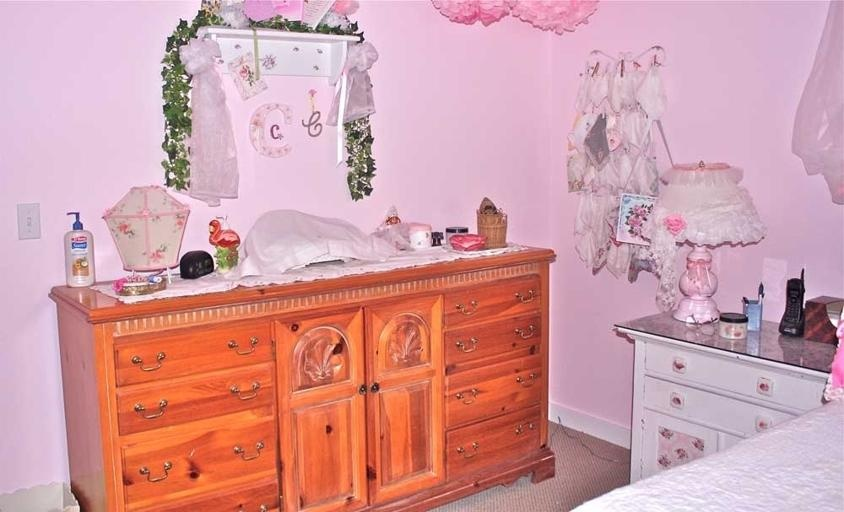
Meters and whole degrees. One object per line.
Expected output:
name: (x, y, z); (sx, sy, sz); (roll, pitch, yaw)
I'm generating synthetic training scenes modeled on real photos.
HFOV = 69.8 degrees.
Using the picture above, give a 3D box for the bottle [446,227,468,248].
bottle: (0.224, -0.121, 3.827); (0.124, 0.087, 0.121); (0, 11, 0)

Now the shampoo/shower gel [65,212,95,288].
shampoo/shower gel: (-1.746, -0.033, 3.102); (0.125, 0.376, 0.117); (-9, 10, -43)

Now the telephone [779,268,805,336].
telephone: (2.060, 0.262, 3.370); (0.116, 0.346, 0.177); (2, 8, 31)

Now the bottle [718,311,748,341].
bottle: (1.701, 0.378, 3.329); (0.144, 0.100, 0.141); (-1, 9, 0)

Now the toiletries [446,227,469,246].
toiletries: (0.218, -0.131, 3.815); (0.119, 0.083, 0.116); (1, 10, 3)

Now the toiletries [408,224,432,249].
toiletries: (-0.004, -0.127, 3.747); (0.145, 0.161, 0.108); (-3, 7, -1)

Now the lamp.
lamp: (1.629, -0.090, 3.587); (0.522, 0.927, 0.562); (-3, 7, -3)

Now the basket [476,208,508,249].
basket: (0.443, -0.174, 3.760); (0.224, 0.286, 0.223); (-3, 7, -10)

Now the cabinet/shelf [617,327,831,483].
cabinet/shelf: (1.550, 0.721, 3.045); (0.879, 0.811, 0.392); (5, 7, 42)

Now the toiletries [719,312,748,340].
toiletries: (1.714, 0.380, 3.361); (0.143, 0.104, 0.139); (2, 10, 17)
